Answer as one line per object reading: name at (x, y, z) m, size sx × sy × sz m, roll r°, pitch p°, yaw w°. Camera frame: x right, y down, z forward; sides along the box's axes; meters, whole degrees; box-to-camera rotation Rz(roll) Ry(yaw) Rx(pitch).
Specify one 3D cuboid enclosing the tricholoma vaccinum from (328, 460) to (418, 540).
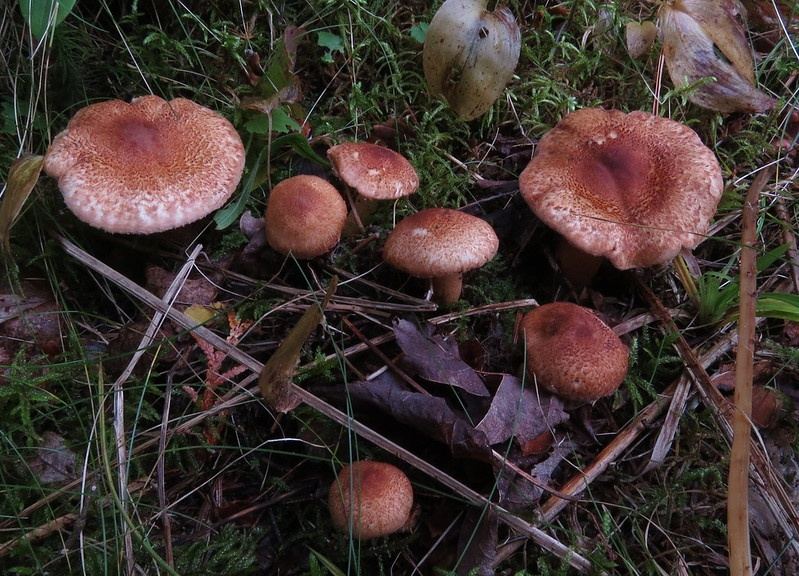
tricholoma vaccinum at (-0.169, 1.161, 3.537) m, size 0.498 × 0.138 × 0.518 m, roll -13°, pitch 35°, yaw -30°

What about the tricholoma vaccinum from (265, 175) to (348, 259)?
tricholoma vaccinum at (-0.612, -0.467, 3.955) m, size 0.499 × 0.206 × 0.547 m, roll 13°, pitch 67°, yaw -5°
